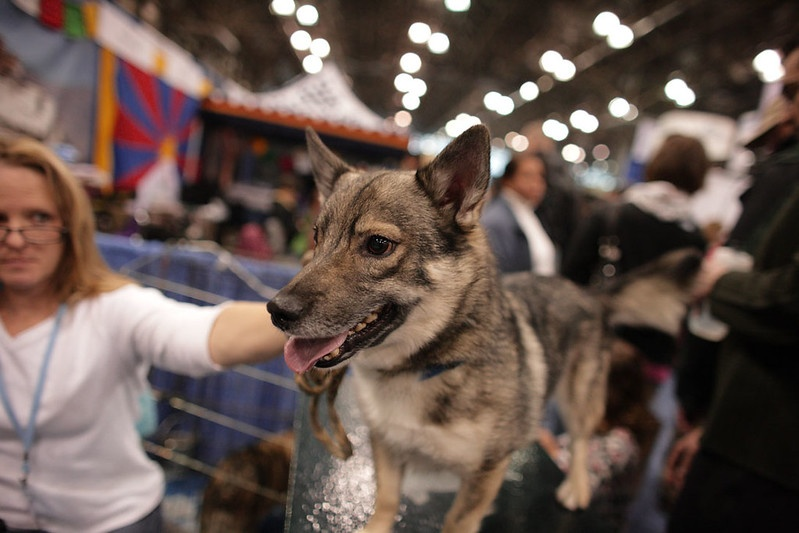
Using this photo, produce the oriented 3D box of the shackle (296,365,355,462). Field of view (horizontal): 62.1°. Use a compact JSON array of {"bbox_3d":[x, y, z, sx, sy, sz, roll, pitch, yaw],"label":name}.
[{"bbox_3d":[-0.385,0.770,3.508,0.404,0.411,0.169,-6,-14,27],"label":"shackle"}]
